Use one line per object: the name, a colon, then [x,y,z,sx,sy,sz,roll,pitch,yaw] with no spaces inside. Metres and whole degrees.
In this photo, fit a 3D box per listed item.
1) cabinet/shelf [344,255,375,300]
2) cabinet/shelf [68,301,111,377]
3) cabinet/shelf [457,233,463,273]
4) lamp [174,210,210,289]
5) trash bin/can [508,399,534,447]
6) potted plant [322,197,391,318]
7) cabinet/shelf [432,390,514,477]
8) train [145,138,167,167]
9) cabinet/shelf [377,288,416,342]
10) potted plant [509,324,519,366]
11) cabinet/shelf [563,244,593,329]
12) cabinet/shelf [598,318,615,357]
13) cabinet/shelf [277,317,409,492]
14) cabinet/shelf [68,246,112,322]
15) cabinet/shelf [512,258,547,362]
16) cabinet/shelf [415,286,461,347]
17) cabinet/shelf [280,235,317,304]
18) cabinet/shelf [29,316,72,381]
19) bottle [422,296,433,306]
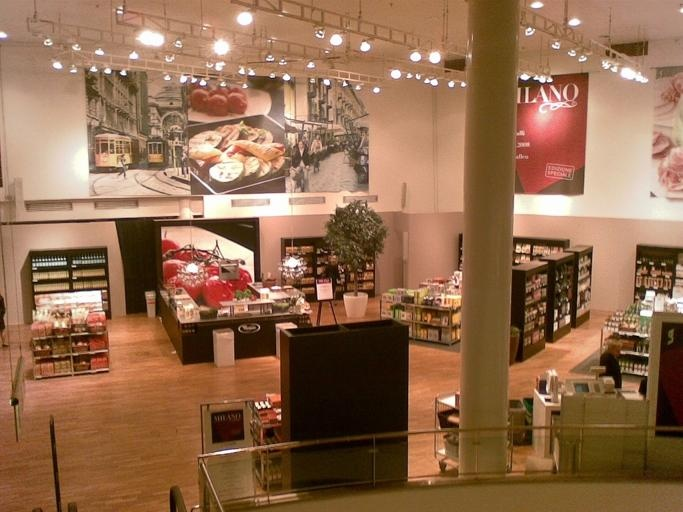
cabinet/shelf: [0.578,0.831,20.602,1.202,1.317,0.425,-3,-29,2]
cabinet/shelf: [-5.908,2.001,13.632,0.820,1.521,0.474,-3,3,-27]
cabinet/shelf: [4.148,-0.156,20.482,0.139,1.289,0.452,-1,3,11]
lamp: [-4.369,-0.102,17.310,1.807,0.868,1.904,1,47,-18]
trash bin/can: [2.873,2.699,9.337,0.450,0.665,0.866,-1,3,4]
potted plant: [0.563,0.110,17.741,1.586,3.546,2.085,-1,3,19]
cabinet/shelf: [2.216,2.919,8.774,1.440,1.560,1.147,0,-3,-5]
train: [-5.684,-3.215,17.912,0.485,0.876,0.858,0,2,-8]
cabinet/shelf: [1.694,1.633,16.175,0.648,1.424,0.943,-5,7,-37]
potted plant: [4.101,2.117,13.763,0.221,0.936,0.605,-1,3,19]
cabinet/shelf: [7.006,0.893,16.936,0.428,2.682,1.026,3,5,26]
cabinet/shelf: [5.942,1.843,13.036,0.306,0.902,0.869,7,13,27]
cabinet/shelf: [0.045,2.254,8.526,2.124,2.982,0.943,-1,1,-14]
cabinet/shelf: [-7.747,0.836,17.477,0.275,2.078,1.076,14,11,40]
cabinet/shelf: [4.429,1.297,14.455,0.467,2.977,1.183,3,4,35]
cabinet/shelf: [2.576,1.573,15.523,1.207,1.548,0.705,-1,3,18]
cabinet/shelf: [-1.138,0.573,19.228,0.897,2.500,0.735,-3,6,-30]
cabinet/shelf: [-6.745,2.152,13.515,0.776,1.521,0.522,-4,6,-32]
bottle: [2.313,1.194,15.456,0.290,0.245,0.064,0,3,27]
